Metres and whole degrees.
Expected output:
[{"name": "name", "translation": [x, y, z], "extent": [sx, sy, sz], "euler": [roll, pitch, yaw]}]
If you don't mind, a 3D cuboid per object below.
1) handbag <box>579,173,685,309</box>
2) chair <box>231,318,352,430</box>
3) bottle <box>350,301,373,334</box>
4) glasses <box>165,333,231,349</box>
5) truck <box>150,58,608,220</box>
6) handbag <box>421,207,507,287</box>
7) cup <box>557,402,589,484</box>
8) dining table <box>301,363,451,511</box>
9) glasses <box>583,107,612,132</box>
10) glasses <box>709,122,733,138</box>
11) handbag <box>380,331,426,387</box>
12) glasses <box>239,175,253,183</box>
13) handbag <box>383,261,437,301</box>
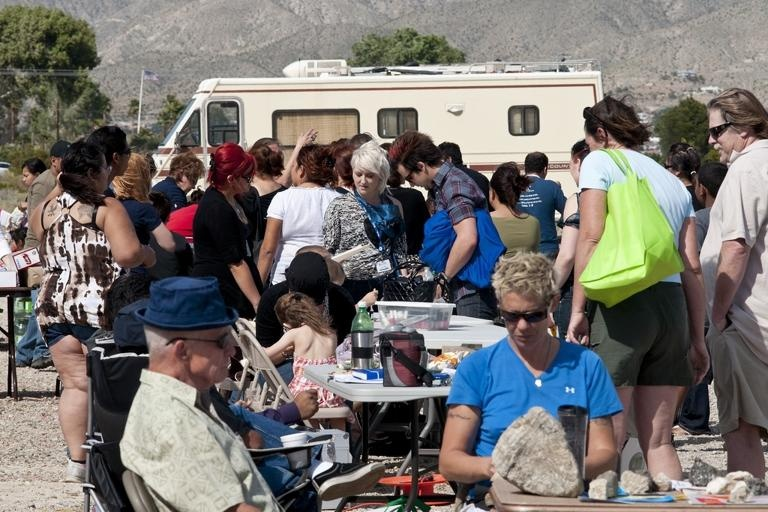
[{"name": "handbag", "translation": [1.883, -0.224, 10.069], "extent": [0.778, 1.020, 0.471], "euler": [-15, 10, -16]}, {"name": "chair", "translation": [-0.906, 1.037, 11.114], "extent": [0.918, 1.367, 0.828], "euler": [-1, 2, -7]}, {"name": "bottle", "translation": [-0.179, 0.487, 10.475], "extent": [0.203, 0.384, 0.211], "euler": [1, -5, 0]}, {"name": "glasses", "translation": [-1.288, 0.597, 9.112], "extent": [0.454, 0.104, 0.109], "euler": [-2, 2, -17]}, {"name": "truck", "translation": [-0.179, -1.695, 21.401], "extent": [7.160, 3.086, 2.688], "euler": [1, 1, 0]}, {"name": "handbag", "translation": [0.688, -0.055, 11.737], "extent": [0.758, 0.700, 0.321], "euler": [-1, 2, 1]}, {"name": "cup", "translation": [1.294, 1.275, 8.921], "extent": [0.227, 0.513, 0.203], "euler": [-2, 2, -19]}, {"name": "dining table", "translation": [-0.094, 1.615, 10.202], "extent": [0.868, 0.862, 1.667], "euler": [1, -3, -3]}, {"name": "glasses", "translation": [1.670, -1.074, 10.366], "extent": [0.179, 0.055, 0.158], "euler": [39, -6, -24]}, {"name": "glasses", "translation": [2.630, -0.980, 10.322], "extent": [0.135, 0.047, 0.111], "euler": [-17, -3, -10]}, {"name": "handbag", "translation": [0.136, 0.736, 10.092], "extent": [0.395, 0.476, 0.438], "euler": [-2, 12, -3]}, {"name": "glasses", "translation": [-1.249, -0.684, 11.811], "extent": [0.019, 0.069, 0.066], "euler": [14, 1, 42]}, {"name": "handbag", "translation": [0.207, 0.212, 11.544], "extent": [0.346, 0.378, 0.361], "euler": [2, -2, -4]}]
